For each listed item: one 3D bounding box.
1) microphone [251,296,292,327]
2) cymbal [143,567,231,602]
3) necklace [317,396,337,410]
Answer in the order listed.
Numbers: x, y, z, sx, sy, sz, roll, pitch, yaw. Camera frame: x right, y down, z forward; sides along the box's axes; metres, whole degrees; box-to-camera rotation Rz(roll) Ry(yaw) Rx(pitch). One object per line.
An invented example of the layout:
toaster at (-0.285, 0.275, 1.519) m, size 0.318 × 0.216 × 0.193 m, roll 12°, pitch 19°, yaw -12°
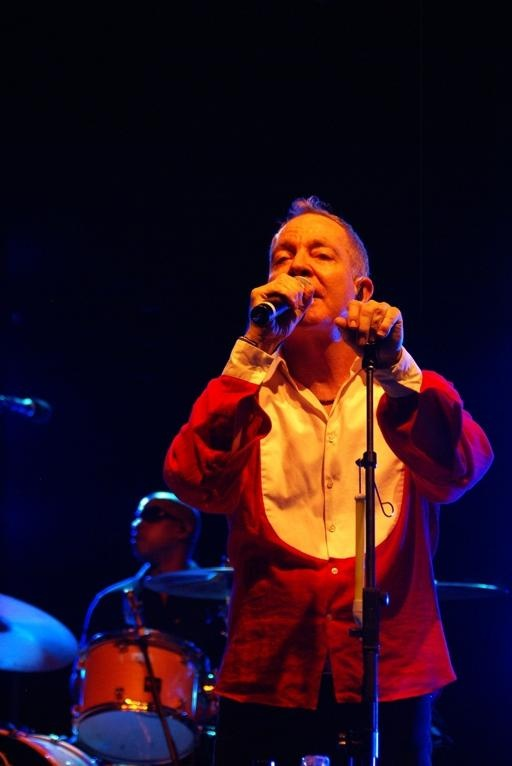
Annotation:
microphone at (0.029, -0.141, 1.922) m, size 0.077 × 0.058 × 0.137 m, roll 3°, pitch -1°, yaw 3°
cymbal at (-0.203, 0.628, 3.039) m, size 0.200 × 0.046 × 0.197 m, roll -3°, pitch -15°, yaw 8°
necklace at (0.162, 0.046, 2.203) m, size 0.029 × 0.026 × 0.020 m, roll 2°, pitch -31°, yaw 2°
